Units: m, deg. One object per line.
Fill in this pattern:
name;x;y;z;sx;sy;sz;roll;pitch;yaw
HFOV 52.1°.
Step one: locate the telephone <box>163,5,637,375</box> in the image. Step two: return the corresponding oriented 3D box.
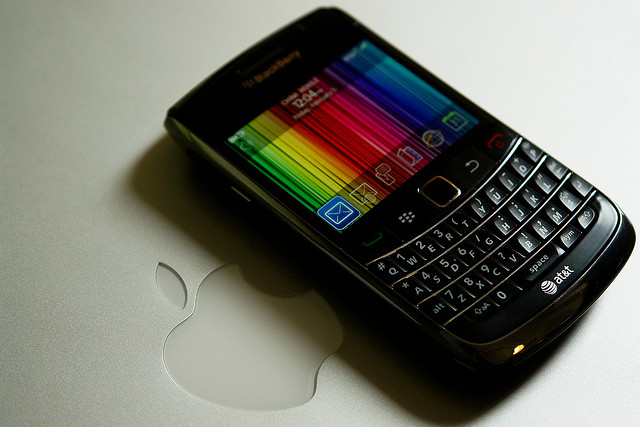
telephone;0.052;-0.047;0.651;0.260;0.446;0.117;-40;-16;-17
